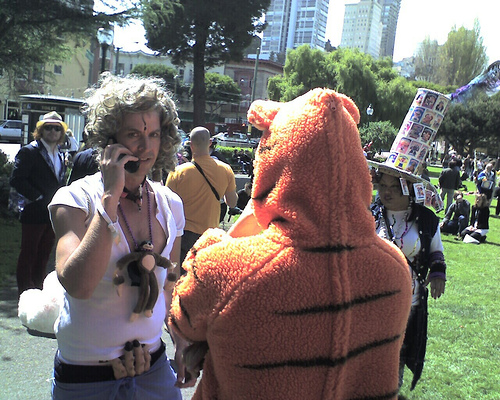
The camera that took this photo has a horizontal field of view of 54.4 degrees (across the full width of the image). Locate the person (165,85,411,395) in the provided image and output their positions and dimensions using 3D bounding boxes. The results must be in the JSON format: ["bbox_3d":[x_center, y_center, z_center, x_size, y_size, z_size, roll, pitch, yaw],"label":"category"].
[{"bbox_3d":[0.095,0.201,2.211,0.933,1.332,0.796,1,13,-12],"label":"person"}]

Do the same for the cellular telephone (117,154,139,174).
[{"bbox_3d":[-0.580,-0.161,2.322,0.094,0.072,0.066,45,-24,11],"label":"cellular telephone"}]

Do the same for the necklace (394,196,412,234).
[{"bbox_3d":[1.333,0.122,4.206,0.051,0.498,0.088,8,-29,37],"label":"necklace"}]

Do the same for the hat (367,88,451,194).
[{"bbox_3d":[1.341,-0.553,4.057,0.580,0.767,0.629,18,18,10],"label":"hat"}]

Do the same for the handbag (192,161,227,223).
[{"bbox_3d":[-0.563,-0.120,5.157,0.557,0.127,0.549,72,-3,-53],"label":"handbag"}]
